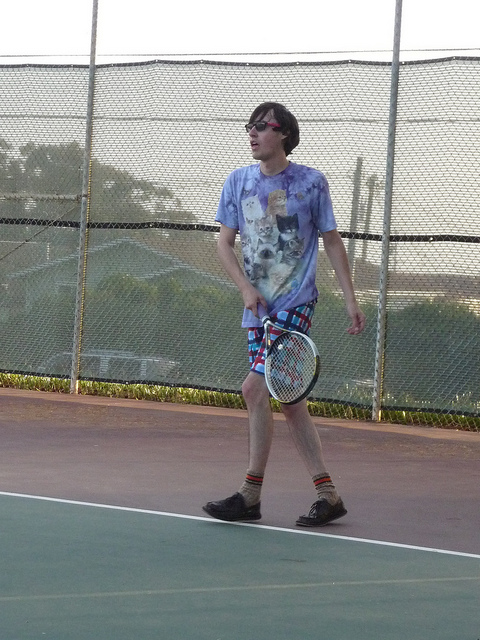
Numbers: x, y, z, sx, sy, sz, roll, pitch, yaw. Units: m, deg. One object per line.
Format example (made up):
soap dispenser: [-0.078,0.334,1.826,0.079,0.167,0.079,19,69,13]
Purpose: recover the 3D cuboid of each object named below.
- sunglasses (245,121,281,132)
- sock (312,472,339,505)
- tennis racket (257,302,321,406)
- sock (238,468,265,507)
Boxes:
sunglasses: [0.085,-0.805,2.960,0.076,0.020,0.071,3,-3,-24]
sock: [0.329,0.658,2.783,0.100,0.113,0.070,1,-3,25]
tennis racket: [0.182,0.147,2.698,0.129,0.331,0.290,3,-3,-20]
sock: [0.042,0.667,2.835,0.077,0.132,0.149,1,-3,20]
